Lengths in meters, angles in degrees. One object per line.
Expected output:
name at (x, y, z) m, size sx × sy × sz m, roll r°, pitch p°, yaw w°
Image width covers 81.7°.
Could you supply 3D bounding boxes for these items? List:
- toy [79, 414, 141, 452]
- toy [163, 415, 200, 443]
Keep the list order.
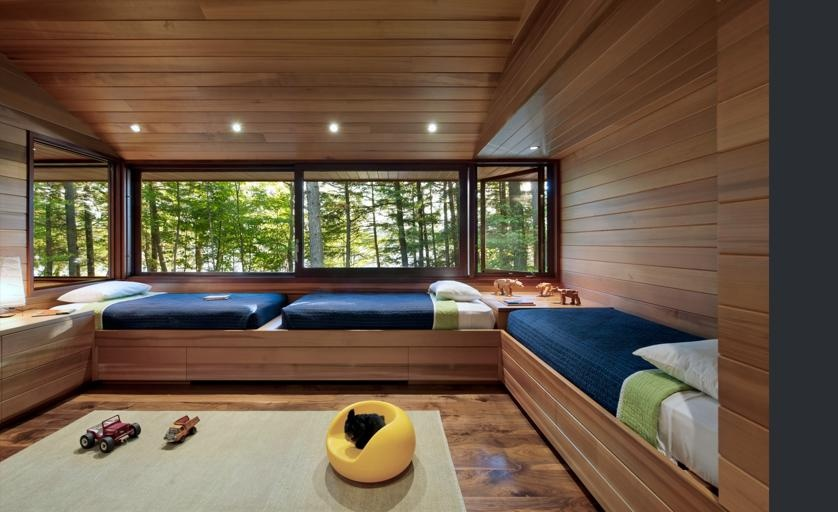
toy at (-2.192, 1.251, 3.436) m, size 0.362 × 0.116 × 0.258 m, roll -6°, pitch 9°, yaw 36°
toy at (-1.677, 1.238, 3.438) m, size 0.182 × 0.085 × 0.226 m, roll -1°, pitch -8°, yaw -4°
